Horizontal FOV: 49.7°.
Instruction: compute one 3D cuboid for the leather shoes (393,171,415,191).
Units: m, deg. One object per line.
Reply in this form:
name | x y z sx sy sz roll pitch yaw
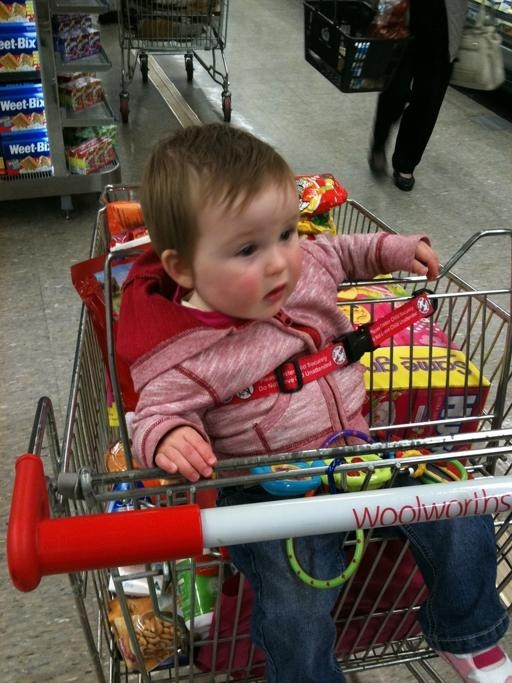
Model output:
leather shoes | 1.032 -1.123 3.888 0.079 0.082 0.209 -6 38 -4
